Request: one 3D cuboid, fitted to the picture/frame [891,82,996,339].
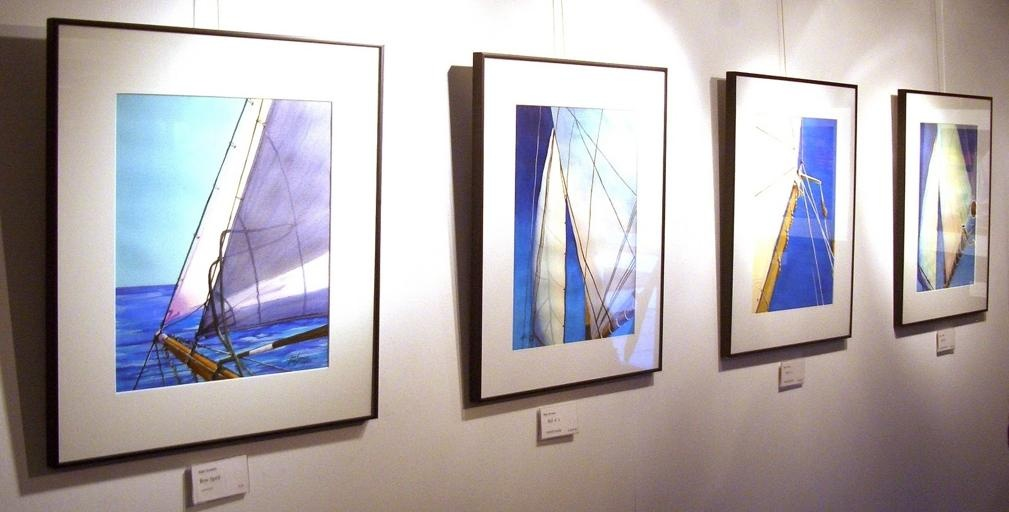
[{"bbox_3d":[2.794,-0.320,4.645,0.774,1.470,0.085,-3,4,-18],"label":"picture/frame"}]
